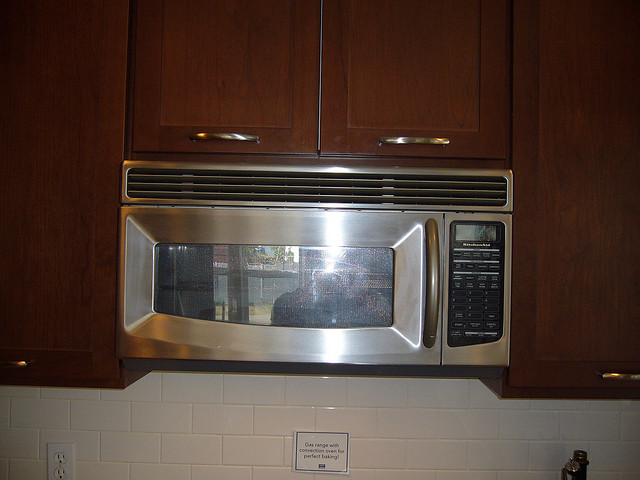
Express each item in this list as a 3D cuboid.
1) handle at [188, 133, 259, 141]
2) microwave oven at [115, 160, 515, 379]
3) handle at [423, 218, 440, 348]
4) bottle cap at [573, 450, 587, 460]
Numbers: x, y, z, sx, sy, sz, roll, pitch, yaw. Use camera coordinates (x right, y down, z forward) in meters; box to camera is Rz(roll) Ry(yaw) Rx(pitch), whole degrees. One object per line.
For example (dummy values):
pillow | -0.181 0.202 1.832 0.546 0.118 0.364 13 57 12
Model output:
handle | -0.254 -0.272 1.741 0.188 0.021 0.028 1 -5 0
microwave oven | -0.010 0.059 1.958 1.069 0.614 0.569 1 11 -8
handle | 0.290 0.113 1.710 0.039 0.334 0.048 1 -6 2
bottle cap | 0.775 0.643 1.967 0.028 0.021 0.029 -2 7 -5
